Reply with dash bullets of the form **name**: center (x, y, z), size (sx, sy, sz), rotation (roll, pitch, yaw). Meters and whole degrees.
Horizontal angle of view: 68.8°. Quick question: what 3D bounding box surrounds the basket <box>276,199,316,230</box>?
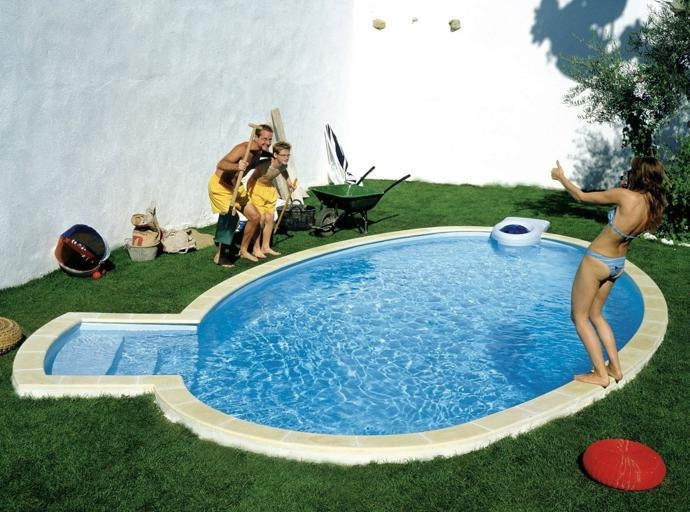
- **basket**: center (-1.071, -0.844, 10.875), size (0.596, 0.431, 0.666), rotation (7, 11, 32)

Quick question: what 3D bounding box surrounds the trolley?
- **trolley**: center (-0.080, -1.096, 10.892), size (2.349, 1.089, 1.172), rotation (-10, 26, -37)

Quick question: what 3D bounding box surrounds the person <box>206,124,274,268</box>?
- **person**: center (-1.768, -1.009, 8.609), size (1.110, 2.386, 1.028), rotation (-5, 16, -15)

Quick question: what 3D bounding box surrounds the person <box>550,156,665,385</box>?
- **person**: center (2.682, 0.207, 5.180), size (0.711, 2.400, 0.835), rotation (14, 22, 42)
